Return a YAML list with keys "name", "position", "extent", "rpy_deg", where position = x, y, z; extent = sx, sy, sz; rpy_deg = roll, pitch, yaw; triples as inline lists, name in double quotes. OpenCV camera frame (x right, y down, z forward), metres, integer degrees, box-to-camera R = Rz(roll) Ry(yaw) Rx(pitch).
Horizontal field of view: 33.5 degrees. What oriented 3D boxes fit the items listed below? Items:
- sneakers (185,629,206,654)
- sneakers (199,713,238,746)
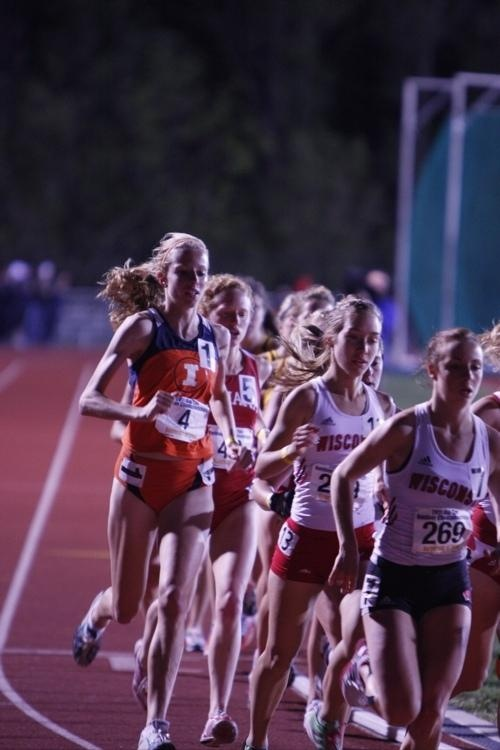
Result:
- name: "sneakers"
  position: [-0.296, 1.426, 4.435]
  extent: [0.107, 0.127, 0.134]
  rpy_deg: [-3, -17, -2]
- name: "sneakers"
  position: [-0.100, 1.254, 2.937]
  extent: [0.076, 0.071, 0.165]
  rpy_deg: [21, -39, -23]
